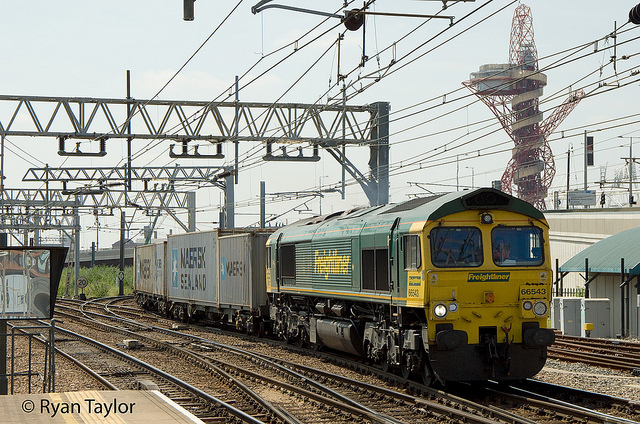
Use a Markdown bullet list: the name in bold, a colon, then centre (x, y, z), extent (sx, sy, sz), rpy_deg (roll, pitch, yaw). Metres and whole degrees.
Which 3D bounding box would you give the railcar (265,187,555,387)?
- **railcar**: centre (2.041, 2.367, 28.137), extent (3.905, 5.591, 14.661), rpy_deg (2, -4, -22)

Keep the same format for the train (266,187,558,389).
- **train**: centre (1.935, 2.351, 28.143), extent (3.939, 5.424, 13.967), rpy_deg (1, -3, -24)
